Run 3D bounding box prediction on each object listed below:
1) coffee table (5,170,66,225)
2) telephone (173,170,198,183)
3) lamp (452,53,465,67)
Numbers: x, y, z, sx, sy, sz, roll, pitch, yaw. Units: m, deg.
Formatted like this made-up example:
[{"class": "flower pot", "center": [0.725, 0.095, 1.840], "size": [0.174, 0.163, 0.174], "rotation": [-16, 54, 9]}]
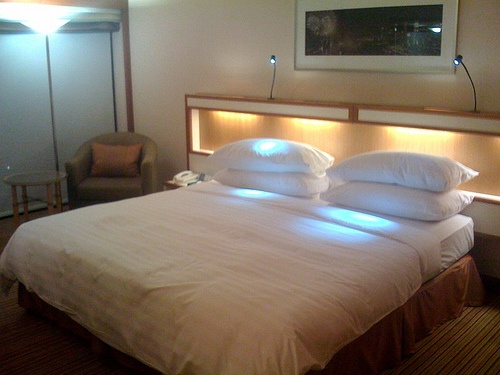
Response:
[{"class": "coffee table", "center": [-2.432, 0.178, 4.469], "size": [0.648, 0.482, 0.645], "rotation": [-4, 13, -18]}, {"class": "telephone", "center": [-0.730, -0.123, 4.532], "size": [0.182, 0.057, 0.186], "rotation": [13, 18, 39]}, {"class": "lamp", "center": [1.737, -1.061, 3.182], "size": [0.076, 0.076, 0.133], "rotation": [20, 37, 24]}]
